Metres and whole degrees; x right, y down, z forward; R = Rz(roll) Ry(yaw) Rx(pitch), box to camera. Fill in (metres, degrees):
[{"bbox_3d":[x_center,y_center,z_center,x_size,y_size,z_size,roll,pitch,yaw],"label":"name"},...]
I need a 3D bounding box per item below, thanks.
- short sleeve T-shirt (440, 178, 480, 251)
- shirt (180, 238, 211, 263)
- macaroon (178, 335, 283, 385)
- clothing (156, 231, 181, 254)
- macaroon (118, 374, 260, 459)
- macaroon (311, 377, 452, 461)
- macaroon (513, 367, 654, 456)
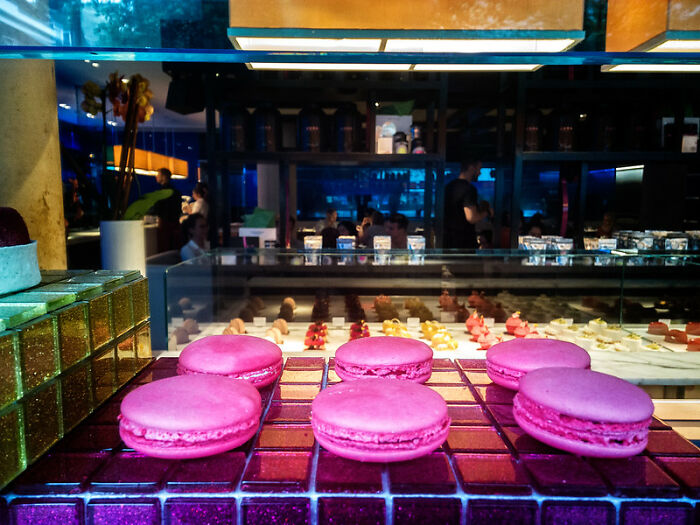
[{"bbox_3d":[0.791,-0.394,4.251,0.318,0.455,0.190,-1,23,-24],"label":"short sleeve T-shirt"},{"bbox_3d":[-0.860,-0.074,3.303,0.102,0.133,0.190,-28,6,-4],"label":"shirt"},{"bbox_3d":[-0.294,0.245,1.539,0.164,0.074,0.162,2,-1,-3],"label":"macaroon"},{"bbox_3d":[-2.063,-0.247,6.736,0.290,0.307,0.289,4,7,26],"label":"clothing"},{"bbox_3d":[-0.345,0.334,1.277,0.201,0.076,0.194,-3,9,-30],"label":"macaroon"},{"bbox_3d":[0.067,0.339,1.274,0.194,0.076,0.193,1,5,27],"label":"macaroon"},{"bbox_3d":[0.546,0.340,1.411,0.320,0.150,0.319,10,7,8],"label":"macaroon"}]
